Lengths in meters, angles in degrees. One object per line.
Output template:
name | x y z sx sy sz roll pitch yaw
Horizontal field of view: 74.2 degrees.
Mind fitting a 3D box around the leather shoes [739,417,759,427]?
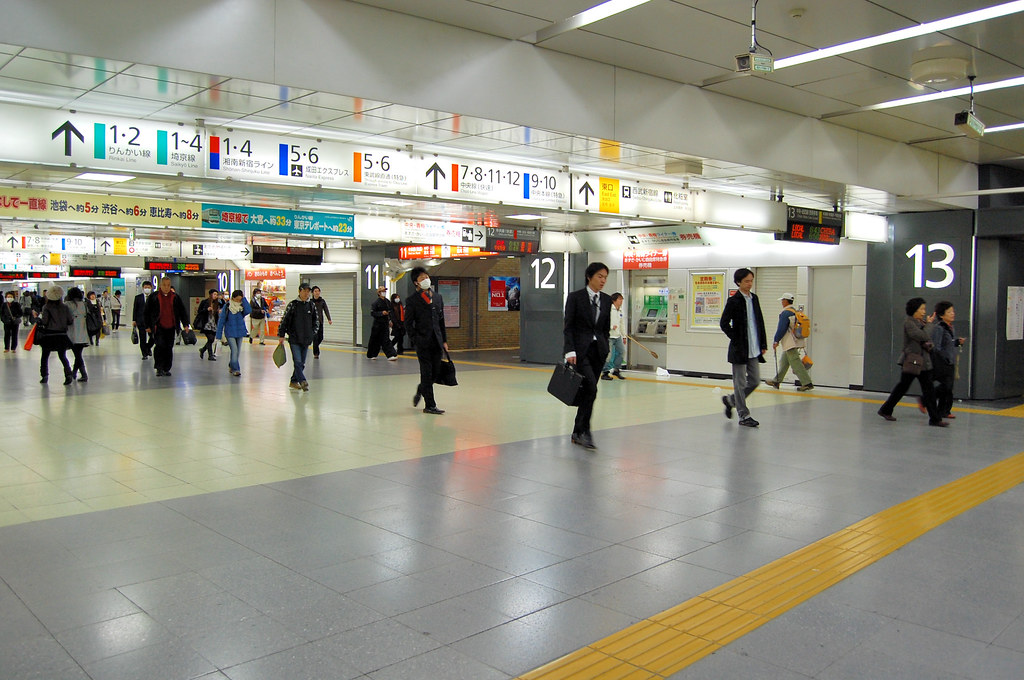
leather shoes | 3.476 1.199 9.894 0.271 0.128 0.261 2 5 20

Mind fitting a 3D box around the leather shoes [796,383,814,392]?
leather shoes | 6.138 0.979 14.028 0.440 0.157 0.215 4 -5 -33

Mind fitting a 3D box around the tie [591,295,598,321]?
tie | 1.044 -0.414 8.403 0.060 0.224 0.175 2 5 -9

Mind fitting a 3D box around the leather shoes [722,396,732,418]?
leather shoes | 3.309 1.016 10.282 0.183 0.386 0.138 0 -8 1

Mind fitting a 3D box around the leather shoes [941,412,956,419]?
leather shoes | 7.125 1.226 11.020 0.280 0.108 0.082 -9 7 -29

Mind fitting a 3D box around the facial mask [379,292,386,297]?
facial mask | -3.713 -1.297 19.450 0.134 0.138 0.163 -6 -8 -42

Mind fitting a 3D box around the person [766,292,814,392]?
person | 5.937 0.049 14.299 0.783 2.016 1.360 2 5 21

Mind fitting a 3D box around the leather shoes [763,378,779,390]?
leather shoes | 5.601 0.937 14.486 0.238 0.113 0.328 -33 40 -6

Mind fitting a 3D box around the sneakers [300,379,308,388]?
sneakers | -4.004 0.879 13.029 0.128 0.109 0.121 -17 35 -15

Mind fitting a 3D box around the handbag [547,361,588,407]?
handbag | 0.681 0.547 8.342 0.409 0.527 0.434 1 5 5

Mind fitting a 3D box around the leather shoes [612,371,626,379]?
leather shoes | 2.534 0.818 15.993 0.140 0.241 0.371 6 10 44

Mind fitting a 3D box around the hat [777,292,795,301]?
hat | 5.700 -0.898 14.028 0.350 0.179 0.471 1 -2 -5

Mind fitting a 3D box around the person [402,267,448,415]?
person | -1.363 0.029 10.624 0.615 2.256 0.827 0 5 -8

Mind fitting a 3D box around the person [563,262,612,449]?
person | 0.933 0.196 8.473 0.565 2.299 0.687 2 5 18

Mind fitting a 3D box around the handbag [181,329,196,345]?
handbag | -8.717 -0.091 18.208 0.135 0.431 0.341 -33 -11 38

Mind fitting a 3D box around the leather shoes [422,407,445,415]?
leather shoes | -1.220 1.109 10.627 0.327 0.125 0.105 2 1 3

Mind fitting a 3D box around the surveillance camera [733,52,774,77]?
surveillance camera | 2.618 -3.005 7.316 0.444 0.265 0.246 -3 6 -34

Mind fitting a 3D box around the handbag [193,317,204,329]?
handbag | -9.049 -0.468 19.571 0.267 0.330 0.119 8 -2 8

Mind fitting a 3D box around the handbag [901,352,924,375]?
handbag | 6.053 0.365 10.148 0.327 0.277 0.186 3 5 21

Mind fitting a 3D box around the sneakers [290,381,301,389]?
sneakers | -4.174 0.884 13.079 0.133 0.117 0.427 -2 6 -30

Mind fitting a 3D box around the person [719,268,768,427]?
person | 3.473 0.106 10.155 0.626 2.310 0.961 2 5 18

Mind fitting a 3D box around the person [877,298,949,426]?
person | 6.414 0.320 10.688 0.875 1.922 1.502 4 6 32
